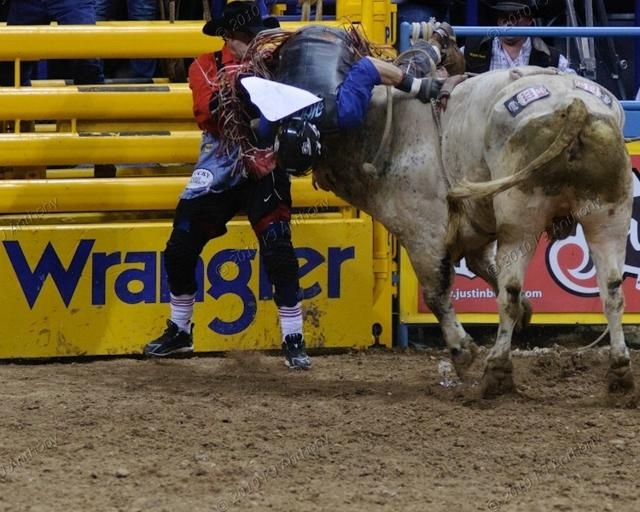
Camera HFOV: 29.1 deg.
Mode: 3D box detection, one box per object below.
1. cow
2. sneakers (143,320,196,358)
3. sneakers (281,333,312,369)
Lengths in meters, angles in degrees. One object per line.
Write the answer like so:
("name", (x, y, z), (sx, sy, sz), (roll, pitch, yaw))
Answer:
("cow", (0.986, -0.178, 7.502), (1.856, 1.932, 0.608), (7, 11, 37))
("sneakers", (-1.006, 0.555, 8.279), (0.134, 0.205, 0.411), (3, 4, 42))
("sneakers", (-0.160, 0.648, 8.331), (0.150, 0.265, 0.130), (-12, 0, 2))
